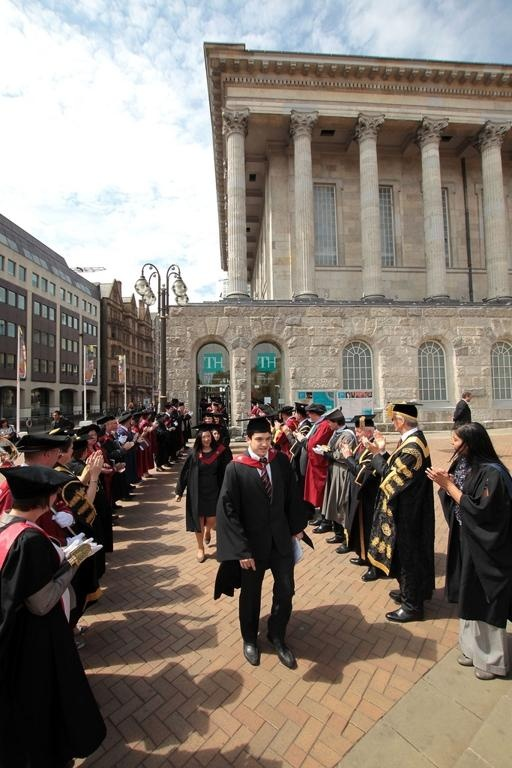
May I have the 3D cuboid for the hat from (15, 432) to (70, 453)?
[{"bbox_3d":[-1.640,0.453,4.093,0.259,0.119,0.297,-1,-6,25],"label":"hat"}]

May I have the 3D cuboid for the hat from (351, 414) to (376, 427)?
[{"bbox_3d":[1.306,0.430,6.221,0.207,0.071,0.212,-4,4,-10],"label":"hat"}]

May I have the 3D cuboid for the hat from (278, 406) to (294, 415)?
[{"bbox_3d":[0.551,0.527,10.400,0.210,0.106,0.214,-5,0,39],"label":"hat"}]

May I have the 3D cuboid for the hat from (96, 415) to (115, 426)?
[{"bbox_3d":[-2.480,0.570,8.501,0.219,0.069,0.172,-7,4,24],"label":"hat"}]

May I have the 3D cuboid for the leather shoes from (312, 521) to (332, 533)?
[{"bbox_3d":[0.975,2.234,8.197,0.375,0.271,0.129,1,1,-2],"label":"leather shoes"}]

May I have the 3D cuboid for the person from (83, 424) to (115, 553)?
[{"bbox_3d":[-1.964,1.283,6.491,0.354,1.514,0.428,-16,-15,39],"label":"person"}]

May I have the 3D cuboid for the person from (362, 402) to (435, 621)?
[{"bbox_3d":[1.452,1.234,5.184,0.564,2.112,0.473,0,1,15],"label":"person"}]

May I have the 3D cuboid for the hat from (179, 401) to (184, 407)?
[{"bbox_3d":[-2.560,0.640,17.634,0.145,0.144,0.164,0,-4,-1],"label":"hat"}]

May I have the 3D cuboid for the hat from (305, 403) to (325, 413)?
[{"bbox_3d":[0.998,0.395,9.046,0.347,0.151,0.423,1,3,5],"label":"hat"}]

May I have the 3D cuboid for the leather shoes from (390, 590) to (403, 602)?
[{"bbox_3d":[1.465,2.224,5.465,0.060,0.083,0.193,-5,-26,7],"label":"leather shoes"}]

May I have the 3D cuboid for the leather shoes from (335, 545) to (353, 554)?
[{"bbox_3d":[1.175,2.241,7.082,0.217,0.091,0.075,2,-7,12],"label":"leather shoes"}]

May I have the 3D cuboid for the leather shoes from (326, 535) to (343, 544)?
[{"bbox_3d":[1.122,2.228,7.503,0.228,0.099,0.085,4,-5,0],"label":"leather shoes"}]

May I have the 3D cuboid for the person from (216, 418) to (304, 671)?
[{"bbox_3d":[0.034,1.316,4.546,0.816,2.083,0.635,-1,1,-6],"label":"person"}]
